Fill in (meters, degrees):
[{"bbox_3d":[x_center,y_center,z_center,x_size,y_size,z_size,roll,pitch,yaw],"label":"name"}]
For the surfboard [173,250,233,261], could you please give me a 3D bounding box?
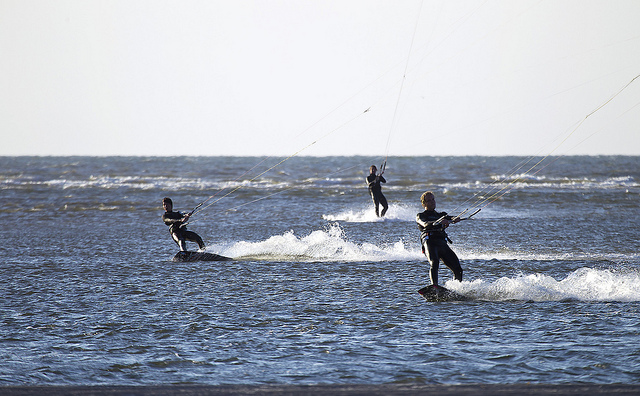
[{"bbox_3d":[-4.292,2.106,37.488,2.236,0.478,0.250,4,-23,-4],"label":"surfboard"}]
